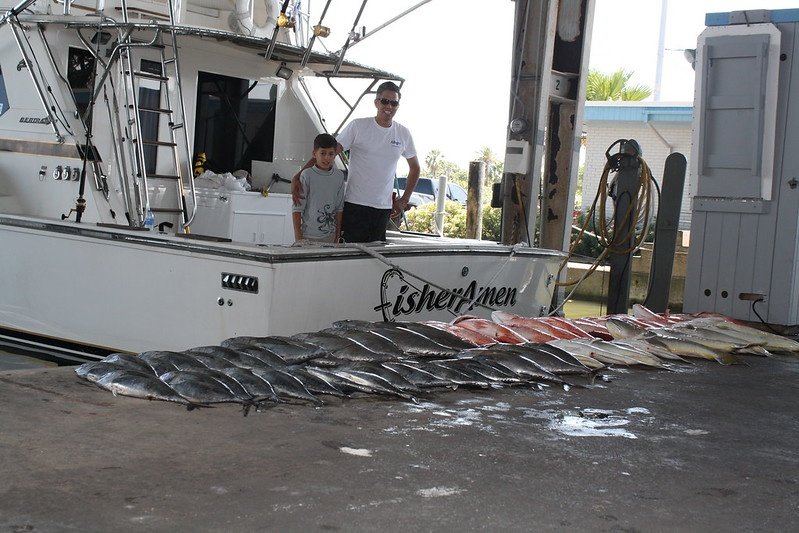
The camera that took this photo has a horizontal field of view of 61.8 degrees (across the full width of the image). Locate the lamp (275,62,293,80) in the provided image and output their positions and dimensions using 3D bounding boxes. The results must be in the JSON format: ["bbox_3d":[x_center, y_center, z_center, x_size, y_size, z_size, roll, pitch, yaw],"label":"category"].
[{"bbox_3d":[-1.533,-2.567,8.811,0.149,0.112,0.151,10,3,29],"label":"lamp"}]

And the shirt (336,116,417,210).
[{"bbox_3d":[-0.231,-1.057,6.659,0.898,0.855,0.339,2,14,-26],"label":"shirt"}]

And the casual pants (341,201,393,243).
[{"bbox_3d":[-0.335,-0.426,6.642,0.601,0.440,0.345,-1,15,-31],"label":"casual pants"}]

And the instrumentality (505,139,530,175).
[{"bbox_3d":[1.580,-1.456,8.890,0.240,0.452,0.336,-8,14,-41],"label":"instrumentality"}]

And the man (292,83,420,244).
[{"bbox_3d":[-0.373,-0.672,6.681,1.292,2.296,0.610,-7,23,-34],"label":"man"}]

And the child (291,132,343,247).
[{"bbox_3d":[-0.756,-0.747,6.384,0.526,1.014,0.359,-2,15,-19],"label":"child"}]

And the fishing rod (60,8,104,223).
[{"bbox_3d":[-3.028,-1.269,6.528,0.334,1.977,0.360,35,31,24],"label":"fishing rod"}]
